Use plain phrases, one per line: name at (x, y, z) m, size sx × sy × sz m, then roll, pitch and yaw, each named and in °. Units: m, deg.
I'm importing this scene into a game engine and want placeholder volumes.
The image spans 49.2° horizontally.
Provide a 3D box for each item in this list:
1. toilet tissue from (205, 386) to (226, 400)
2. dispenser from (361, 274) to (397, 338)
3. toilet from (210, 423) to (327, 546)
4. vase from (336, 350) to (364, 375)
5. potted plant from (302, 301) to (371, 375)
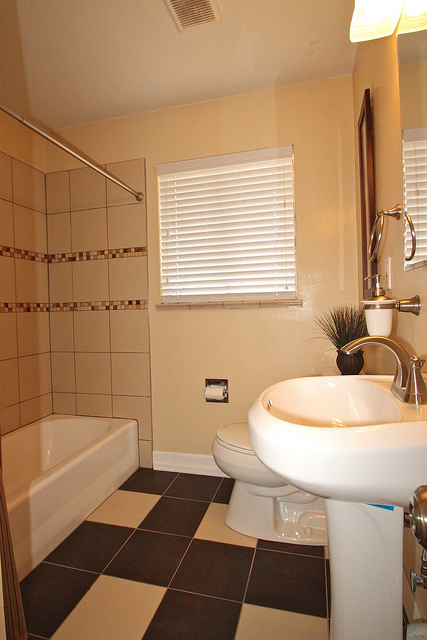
toilet tissue at (0.006, 0.386, 2.429) m, size 0.104 × 0.072 × 0.089 m, roll -2°, pitch 6°, yaw -3°
dispenser at (0.489, -0.032, 1.412) m, size 0.116 × 0.246 × 0.128 m, roll 0°, pitch 1°, yaw 21°
toilet at (0.308, 0.693, 2.030) m, size 0.342 × 0.471 × 0.585 m, roll 3°, pitch 7°, yaw 37°
vase at (0.556, 0.181, 1.899) m, size 0.101 × 0.101 × 0.181 m, roll 1°, pitch 7°, yaw 16°
potted plant at (0.555, 0.065, 2.092) m, size 0.351 × 0.452 × 0.263 m, roll -2°, pitch 2°, yaw 24°
